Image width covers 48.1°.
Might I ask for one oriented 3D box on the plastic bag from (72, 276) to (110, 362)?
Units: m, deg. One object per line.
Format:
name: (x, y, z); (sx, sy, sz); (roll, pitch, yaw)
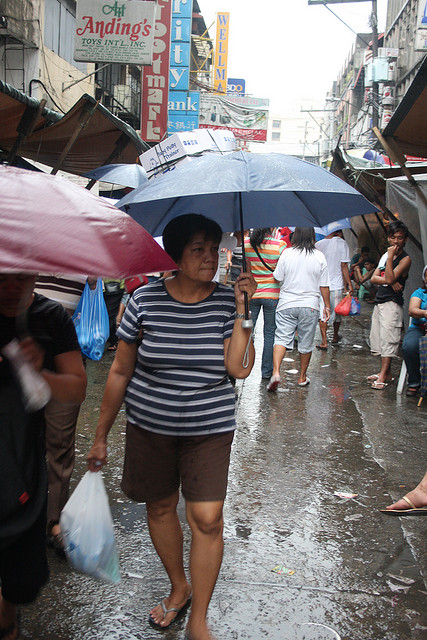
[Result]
plastic bag: (-1.355, 0.012, 5.397); (0.336, 0.953, 0.419); (4, -14, -25)

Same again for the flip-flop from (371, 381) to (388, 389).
flip-flop: (2.286, 0.889, 6.524); (0.203, 0.096, 0.097); (0, 7, -31)

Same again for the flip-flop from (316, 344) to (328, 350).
flip-flop: (2.044, 0.505, 8.970); (0.097, 0.072, 0.260); (1, -6, -12)

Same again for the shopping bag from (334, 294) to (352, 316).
shopping bag: (2.507, -0.292, 9.248); (0.252, 0.483, 0.216); (36, -17, 7)

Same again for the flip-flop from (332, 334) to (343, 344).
flip-flop: (2.575, 0.420, 9.844); (0.127, 0.166, 0.430); (-5, -15, 27)

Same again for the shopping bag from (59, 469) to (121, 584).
shopping bag: (-0.492, 0.804, 1.892); (0.233, 0.475, 0.238); (5, -26, -18)

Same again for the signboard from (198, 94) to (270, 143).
signboard: (1.614, -15.467, 36.916); (5.011, 3.801, 3.467); (3, 6, 1)

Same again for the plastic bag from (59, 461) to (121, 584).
plastic bag: (-0.478, 0.797, 1.893); (0.224, 0.471, 0.234); (-10, -28, 15)

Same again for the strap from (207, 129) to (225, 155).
strap: (0.039, -2.170, 5.828); (0.215, 0.274, 0.120); (4, 6, 5)

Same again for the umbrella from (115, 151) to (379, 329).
umbrella: (0.136, -0.502, 2.388); (0.955, 0.602, 0.951); (23, 35, 36)

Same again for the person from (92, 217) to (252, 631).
person: (-0.155, 0.427, 1.970); (0.594, 1.679, 0.337); (6, 6, 24)

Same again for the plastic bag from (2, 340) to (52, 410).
plastic bag: (-0.497, 0.152, 1.274); (0.116, 0.184, 0.084); (1, 6, -24)

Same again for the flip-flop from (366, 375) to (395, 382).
flip-flop: (2.513, 0.848, 7.029); (0.390, 0.098, 0.137); (7, -8, -11)

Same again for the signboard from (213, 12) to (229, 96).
signboard: (0.685, -20.866, 37.570); (0.814, 5.595, 0.406); (3, 19, 0)

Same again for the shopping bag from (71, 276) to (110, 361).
shopping bag: (-1.339, 0.010, 5.252); (0.287, 0.932, 0.531); (4, 6, 12)

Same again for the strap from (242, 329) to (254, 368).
strap: (0.132, 0.111, 1.843); (0.013, 0.145, 0.080); (5, 6, 19)
